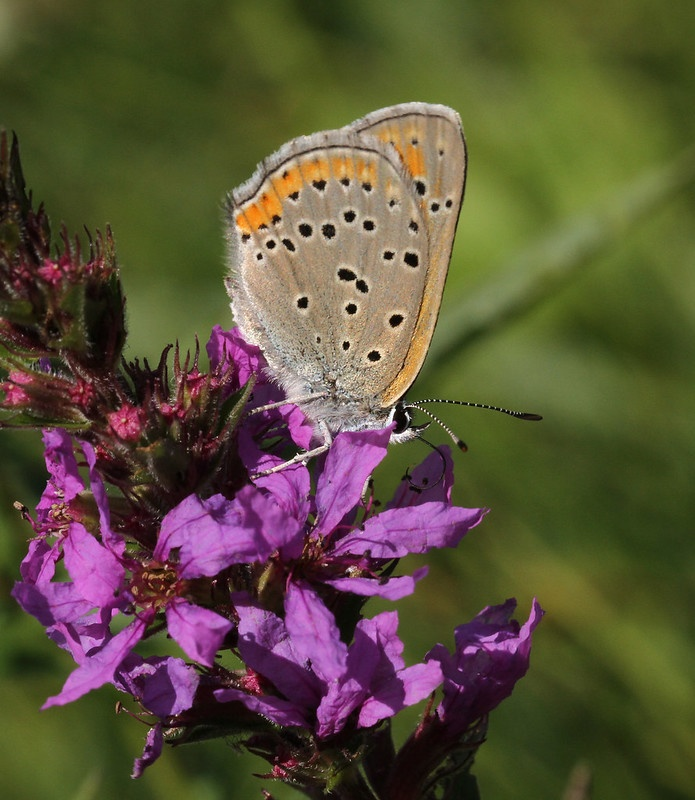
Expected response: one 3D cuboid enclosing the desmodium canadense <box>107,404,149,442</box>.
[{"bbox_3d":[-0.587,0.060,2.680,0.112,0.089,0.045,0,11,12],"label":"desmodium canadense"}]
